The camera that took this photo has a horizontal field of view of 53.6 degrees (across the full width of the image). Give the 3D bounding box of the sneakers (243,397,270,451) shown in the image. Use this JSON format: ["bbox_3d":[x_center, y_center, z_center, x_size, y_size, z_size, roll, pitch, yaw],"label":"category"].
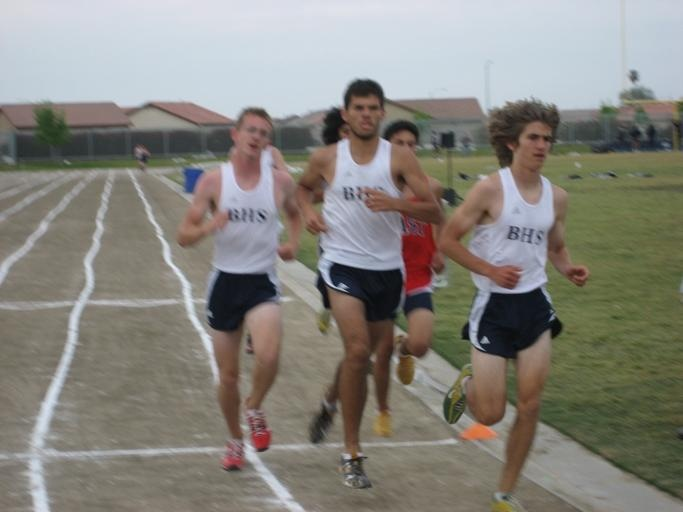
[{"bbox_3d":[-0.630,1.206,4.882,0.132,0.369,0.154,-19,3,-6],"label":"sneakers"}]

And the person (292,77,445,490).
[{"bbox_3d":[0.169,0.162,4.923,0.858,2.805,1.219,-1,12,-17],"label":"person"}]

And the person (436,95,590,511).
[{"bbox_3d":[1.140,0.278,4.539,0.794,2.597,0.874,11,15,35],"label":"person"}]

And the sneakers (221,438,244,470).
[{"bbox_3d":[-0.830,1.444,4.889,0.100,0.127,0.297,2,1,-7],"label":"sneakers"}]

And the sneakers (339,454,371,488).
[{"bbox_3d":[0.063,1.461,4.593,0.127,0.141,0.326,2,-3,-15],"label":"sneakers"}]

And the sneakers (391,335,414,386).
[{"bbox_3d":[0.527,0.929,5.963,0.157,0.487,0.205,-5,5,11],"label":"sneakers"}]

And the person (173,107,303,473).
[{"bbox_3d":[-0.711,0.229,5.026,0.825,2.585,0.811,11,14,34],"label":"person"}]
